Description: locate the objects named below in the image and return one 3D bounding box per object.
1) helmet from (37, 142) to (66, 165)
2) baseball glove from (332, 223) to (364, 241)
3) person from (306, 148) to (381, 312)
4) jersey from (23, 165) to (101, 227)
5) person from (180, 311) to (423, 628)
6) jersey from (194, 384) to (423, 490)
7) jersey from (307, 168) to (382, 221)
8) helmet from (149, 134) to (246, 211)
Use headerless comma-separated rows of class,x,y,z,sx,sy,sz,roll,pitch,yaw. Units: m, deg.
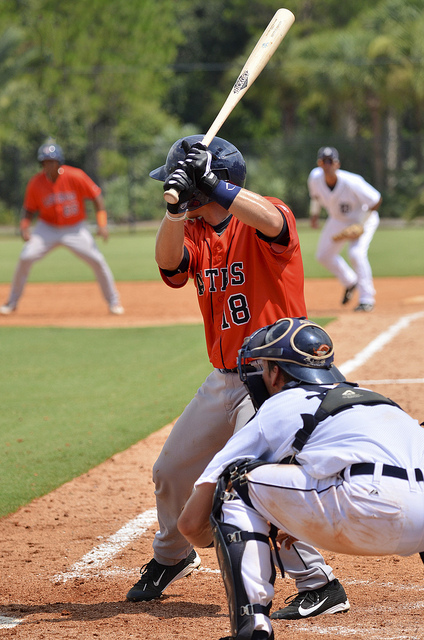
helmet,-1.107,-1.131,5.048,0.189,0.147,0.174,0,-6,-2
baseball glove,1.411,-0.889,7.565,0.179,0.093,0.258,-11,-4,-37
person,1.400,-0.956,7.779,0.794,1.694,0.597,5,15,24
jersey,-1.144,-0.944,5.612,0.655,0.459,0.272,-9,22,5
person,0.217,0.372,1.901,0.513,0.686,0.588,-10,16,-35
jersey,0.263,0.326,1.918,0.582,0.294,0.252,5,14,27
jersey,1.342,-1.353,7.782,0.903,0.647,0.286,15,47,29
helmet,-0.023,-0.481,2.393,0.360,0.239,0.245,-2,14,-1
